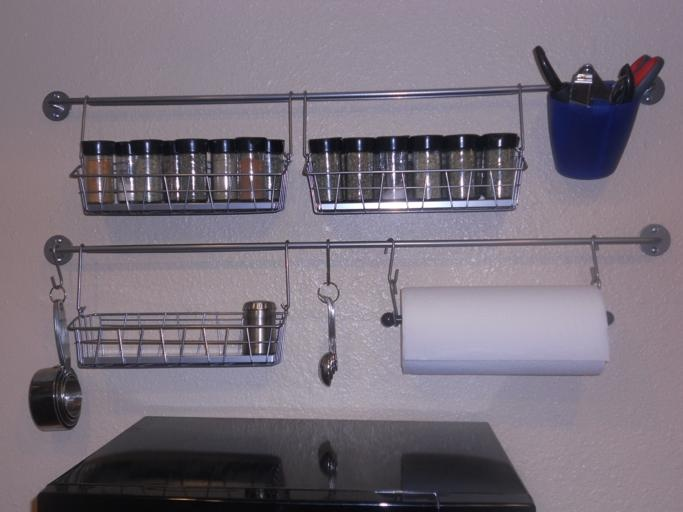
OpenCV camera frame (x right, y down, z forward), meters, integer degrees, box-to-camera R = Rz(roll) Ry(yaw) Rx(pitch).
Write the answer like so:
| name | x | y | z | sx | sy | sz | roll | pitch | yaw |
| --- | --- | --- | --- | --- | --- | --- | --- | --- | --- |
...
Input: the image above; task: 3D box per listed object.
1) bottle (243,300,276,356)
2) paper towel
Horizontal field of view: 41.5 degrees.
| name | x | y | z | sx | sy | sz | roll | pitch | yaw |
| --- | --- | --- | --- | --- | --- | --- | --- | --- | --- |
| bottle | -0.183 | 0.154 | 2.006 | 0.093 | 0.164 | 0.099 | 0 | -5 | 0 |
| paper towel | 0.355 | 0.157 | 1.917 | 0.369 | 0.202 | 0.181 | -1 | -14 | 4 |
